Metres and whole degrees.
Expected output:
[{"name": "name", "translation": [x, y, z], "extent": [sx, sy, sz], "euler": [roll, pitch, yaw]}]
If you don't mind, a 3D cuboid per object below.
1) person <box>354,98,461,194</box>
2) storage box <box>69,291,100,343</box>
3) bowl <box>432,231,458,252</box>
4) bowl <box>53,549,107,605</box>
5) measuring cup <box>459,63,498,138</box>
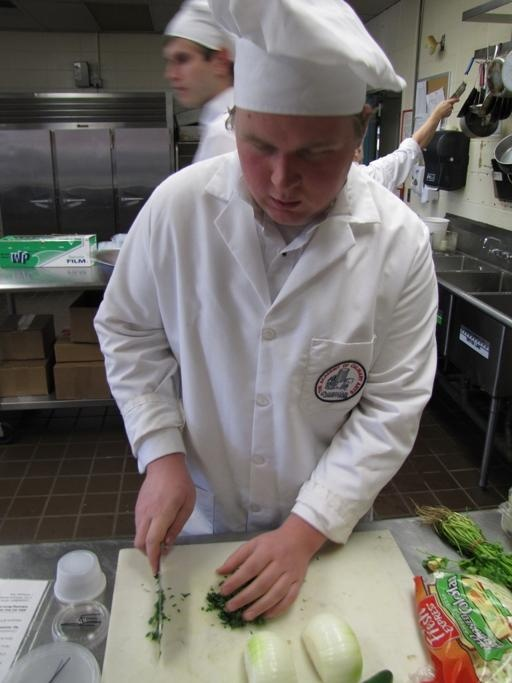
[{"name": "person", "translation": [0.915, -1.082, 3.254], "extent": [0.338, 0.296, 1.156], "euler": [18, 6, -24]}, {"name": "storage box", "translation": [-0.941, -0.132, 2.787], "extent": [0.192, 0.216, 0.344], "euler": [0, 19, -3]}, {"name": "bowl", "translation": [1.311, -0.708, 3.535], "extent": [0.154, 0.106, 0.148], "euler": [0, 11, 0]}, {"name": "bowl", "translation": [-0.296, 0.397, 0.851], "extent": [0.075, 0.066, 0.075], "euler": [0, 20, 0]}, {"name": "measuring cup", "translation": [1.286, -1.467, 2.971], "extent": [0.214, 0.571, 0.248], "euler": [4, 52, 20]}]
